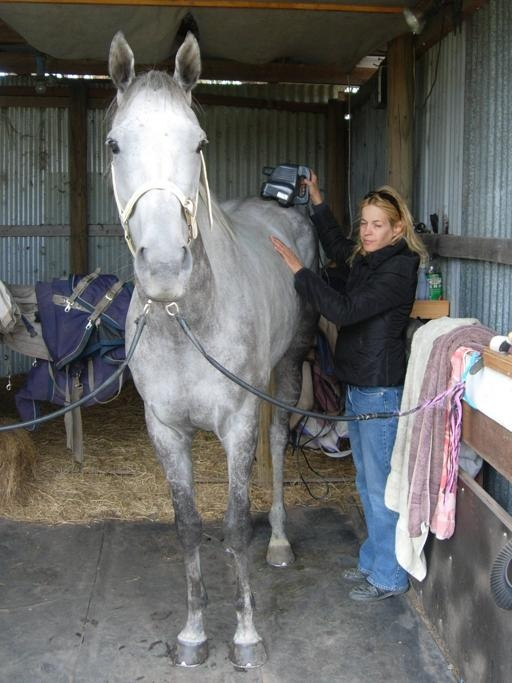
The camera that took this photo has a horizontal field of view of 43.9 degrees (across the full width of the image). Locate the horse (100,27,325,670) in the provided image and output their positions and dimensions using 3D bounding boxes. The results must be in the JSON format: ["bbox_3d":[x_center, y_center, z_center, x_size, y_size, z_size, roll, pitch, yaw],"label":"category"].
[{"bbox_3d":[-0.116,0.077,2.289,0.538,1.980,1.693,1,8,5],"label":"horse"}]
